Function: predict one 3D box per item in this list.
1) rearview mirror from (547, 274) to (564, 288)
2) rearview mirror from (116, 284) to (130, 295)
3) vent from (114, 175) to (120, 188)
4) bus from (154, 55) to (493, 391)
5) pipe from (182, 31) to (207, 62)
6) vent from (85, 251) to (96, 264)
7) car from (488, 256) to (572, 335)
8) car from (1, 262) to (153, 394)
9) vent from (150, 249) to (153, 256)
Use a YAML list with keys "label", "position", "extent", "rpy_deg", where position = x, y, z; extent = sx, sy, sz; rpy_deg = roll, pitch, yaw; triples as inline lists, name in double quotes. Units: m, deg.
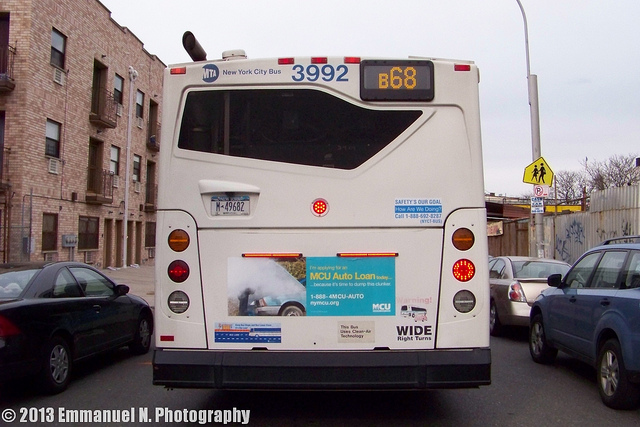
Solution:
- label: "rearview mirror"
  position: [4.122, 1.191, 9.716]
  extent: [0.214, 0.242, 0.226]
  rpy_deg: [10, -14, -18]
- label: "rearview mirror"
  position: [-3.604, 1.399, 10.094]
  extent: [0.215, 0.192, 0.167]
  rpy_deg: [0, -1, -29]
- label: "vent"
  position: [-10.905, -1.782, 29.656]
  extent: [0.146, 0.692, 0.612]
  rpy_deg: [0, -1, -7]
- label: "bus"
  position: [0.015, 1.639, 10.659]
  extent: [4.440, 4.857, 8.406]
  rpy_deg: [-2, -22, 3]
- label: "pipe"
  position: [-1.624, -2.186, 7.174]
  extent: [0.275, 0.403, 0.387]
  rpy_deg: [0, -1, -17]
- label: "vent"
  position: [-11.131, 2.146, 26.841]
  extent: [0.248, 0.669, 1.154]
  rpy_deg: [0, -1, -7]
- label: "car"
  position: [4.478, 1.637, 11.400]
  extent: [1.513, 1.367, 3.865]
  rpy_deg: [0, -4, 1]
- label: "car"
  position: [-4.275, 1.774, 9.507]
  extent: [1.261, 1.916, 3.805]
  rpy_deg: [0, -1, 13]
- label: "vent"
  position: [-11.012, 2.539, 36.116]
  extent: [0.136, 0.430, 0.563]
  rpy_deg: [0, -1, -13]
